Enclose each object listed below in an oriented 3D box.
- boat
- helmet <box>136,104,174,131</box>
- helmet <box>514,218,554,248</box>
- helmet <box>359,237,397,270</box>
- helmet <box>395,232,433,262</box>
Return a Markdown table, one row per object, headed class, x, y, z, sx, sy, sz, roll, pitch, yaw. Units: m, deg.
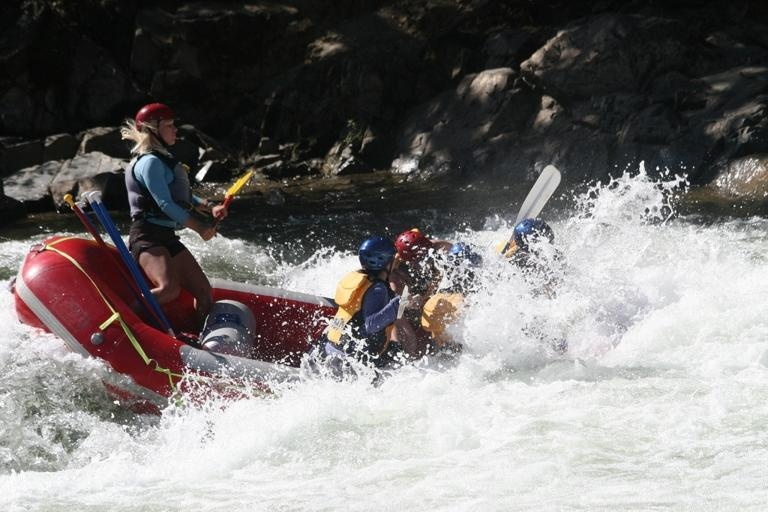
| class | x | y | z | sx | sy | sz | roll | pitch | yaw |
| --- | --- | --- | --- | --- | --- | --- | --- | --- | --- |
| boat | -2.064 | 1.059 | 12.535 | 5.127 | 1.353 | 2.301 | 4 | 34 | -13 |
| helmet | -2.942 | -1.810 | 12.486 | 0.448 | 0.207 | 0.283 | -15 | 18 | -13 |
| helmet | 2.149 | -0.372 | 13.773 | 0.457 | 0.239 | 0.444 | -29 | 55 | -20 |
| helmet | -0.022 | -0.077 | 12.483 | 0.383 | 0.399 | 0.463 | 5 | 33 | 23 |
| helmet | 0.435 | -0.109 | 13.561 | 0.515 | 0.368 | 0.456 | -24 | -13 | -2 |
